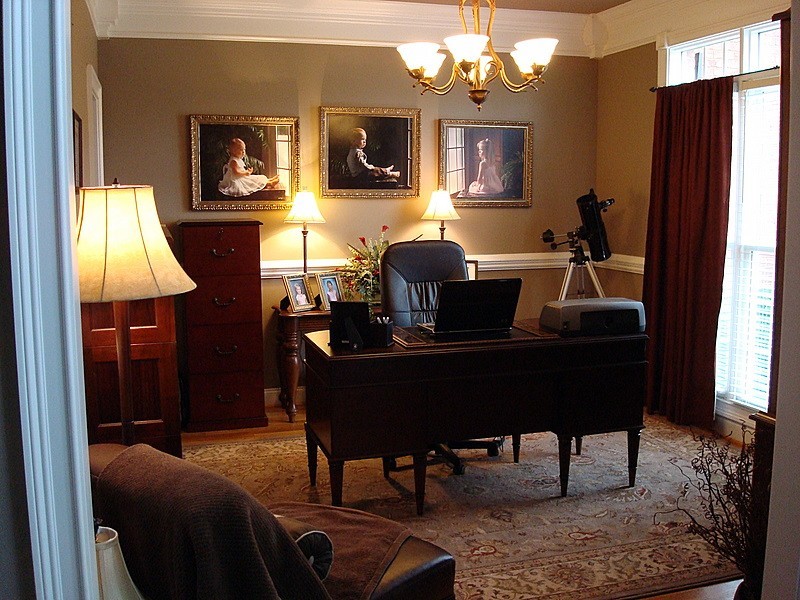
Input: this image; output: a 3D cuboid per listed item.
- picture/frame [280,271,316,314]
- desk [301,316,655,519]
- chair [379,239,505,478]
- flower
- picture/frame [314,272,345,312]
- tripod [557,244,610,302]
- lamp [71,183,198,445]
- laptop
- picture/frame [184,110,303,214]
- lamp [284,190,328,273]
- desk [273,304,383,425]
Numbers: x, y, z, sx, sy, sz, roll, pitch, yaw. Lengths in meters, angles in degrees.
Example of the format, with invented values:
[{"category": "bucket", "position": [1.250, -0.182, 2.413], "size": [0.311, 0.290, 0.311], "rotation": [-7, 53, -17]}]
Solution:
[{"category": "picture/frame", "position": [-0.828, -0.058, 5.515], "size": [0.333, 0.446, 0.077], "rotation": [1, -28, -42]}, {"category": "desk", "position": [0.482, 0.668, 4.144], "size": [1.865, 0.984, 0.653], "rotation": [-3, 12, -13]}, {"category": "chair", "position": [0.221, 0.211, 4.160], "size": [0.860, 1.279, 0.806], "rotation": [4, -11, -42]}, {"category": "flower", "position": [-0.165, -0.362, 5.741], "size": [0.495, 0.576, 0.492], "rotation": [-2, 2, 38]}, {"category": "picture/frame", "position": [-0.550, -0.066, 5.328], "size": [0.258, 0.369, 0.049], "rotation": [-9, -3, -32]}, {"category": "tripod", "position": [1.585, -0.243, 5.886], "size": [0.381, 0.520, 0.333], "rotation": [-5, 14, -5]}, {"category": "lamp", "position": [-1.077, 0.092, 2.849], "size": [0.423, 1.139, 0.422], "rotation": [-5, 10, -23]}, {"category": "laptop", "position": [0.381, 0.032, 3.728], "size": [0.506, 0.354, 0.482], "rotation": [2, -7, 12]}, {"category": "picture/frame", "position": [-1.303, -1.134, 5.529], "size": [0.808, 0.741, 0.072], "rotation": [-1, 4, -17]}, {"category": "lamp", "position": [-0.757, -0.557, 5.582], "size": [0.306, 0.700, 0.409], "rotation": [-2, 10, -7]}, {"category": "desk", "position": [-0.498, 0.567, 5.424], "size": [0.755, 0.946, 0.630], "rotation": [16, -17, -24]}]
